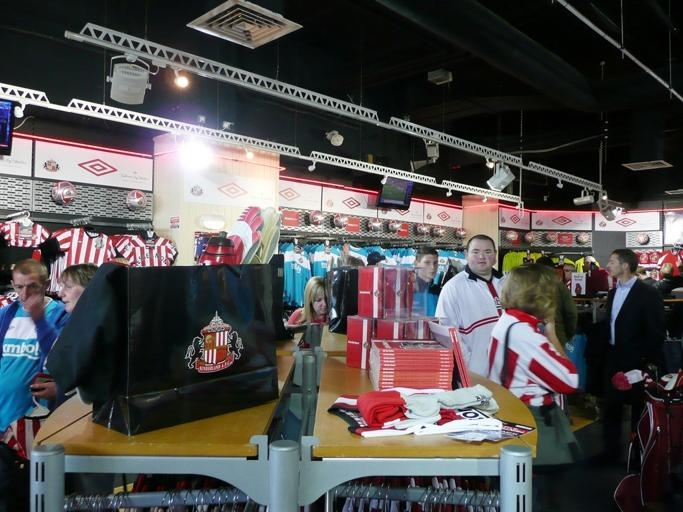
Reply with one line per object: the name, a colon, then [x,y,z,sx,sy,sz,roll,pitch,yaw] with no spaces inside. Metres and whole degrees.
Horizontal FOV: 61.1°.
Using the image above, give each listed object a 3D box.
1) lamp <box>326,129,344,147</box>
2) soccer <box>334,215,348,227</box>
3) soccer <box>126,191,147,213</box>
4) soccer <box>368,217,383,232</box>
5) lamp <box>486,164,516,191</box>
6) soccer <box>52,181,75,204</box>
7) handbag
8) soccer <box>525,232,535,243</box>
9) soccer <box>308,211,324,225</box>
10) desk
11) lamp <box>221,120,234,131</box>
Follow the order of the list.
lamp: [-0.132,-1.965,9.634,0.279,0.276,0.442,2,2,-3]
soccer: [-0.010,-0.604,10.288,0.296,0.213,0.109,0,2,-42]
soccer: [-2.796,-0.734,7.779,0.263,0.285,0.178,1,1,-35]
soccer: [0.640,-0.581,10.978,0.166,0.253,0.322,3,2,41]
lamp: [2.636,-1.302,9.498,0.362,0.352,0.489,2,2,20]
soccer: [-3.445,-0.754,7.181,0.246,0.280,0.260,14,9,24]
handbag: [-0.763,0.449,2.675,0.792,0.692,0.279,-2,3,-35]
soccer: [4.683,-0.441,14.375,0.219,0.318,0.141,-1,0,2]
soccer: [-0.449,-0.639,9.880,0.178,0.240,0.233,5,10,5]
desk: [-0.250,0.904,2.874,2.364,0.884,0.773,2,1,-2]
lamp: [-1.517,-1.726,7.546,0.173,0.055,0.170,2,-14,-23]
